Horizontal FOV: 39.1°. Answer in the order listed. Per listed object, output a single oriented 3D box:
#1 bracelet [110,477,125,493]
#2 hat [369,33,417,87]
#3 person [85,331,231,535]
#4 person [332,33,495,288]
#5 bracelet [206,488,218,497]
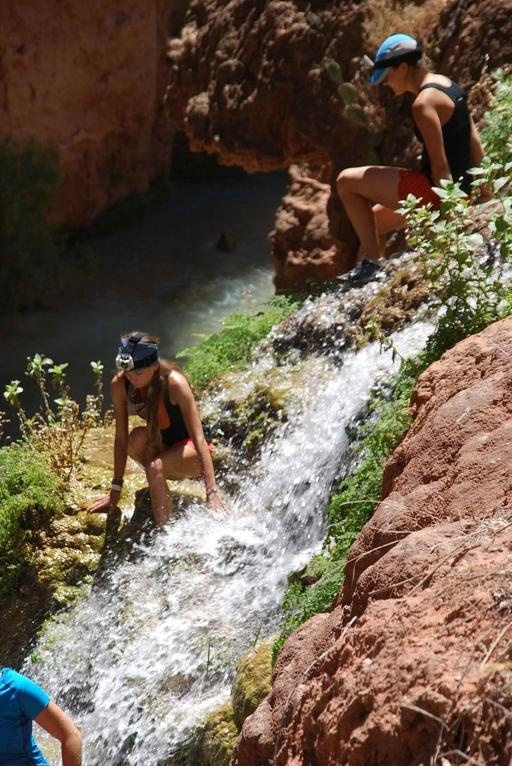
[{"bbox_3d":[-0.772,0.573,4.058,0.069,0.078,0.066,12,49,14],"label":"bracelet"},{"bbox_3d":[0.643,-1.590,3.533,0.269,0.148,0.179,-36,29,19],"label":"hat"},{"bbox_3d":[-0.615,0.223,3.899,0.670,1.015,0.457,-12,15,-2],"label":"person"},{"bbox_3d":[0.805,-1.174,3.866,0.461,1.236,1.043,-17,16,-20],"label":"person"},{"bbox_3d":[-0.239,0.584,3.852,0.042,0.040,0.011,-1,-15,-2],"label":"bracelet"}]
